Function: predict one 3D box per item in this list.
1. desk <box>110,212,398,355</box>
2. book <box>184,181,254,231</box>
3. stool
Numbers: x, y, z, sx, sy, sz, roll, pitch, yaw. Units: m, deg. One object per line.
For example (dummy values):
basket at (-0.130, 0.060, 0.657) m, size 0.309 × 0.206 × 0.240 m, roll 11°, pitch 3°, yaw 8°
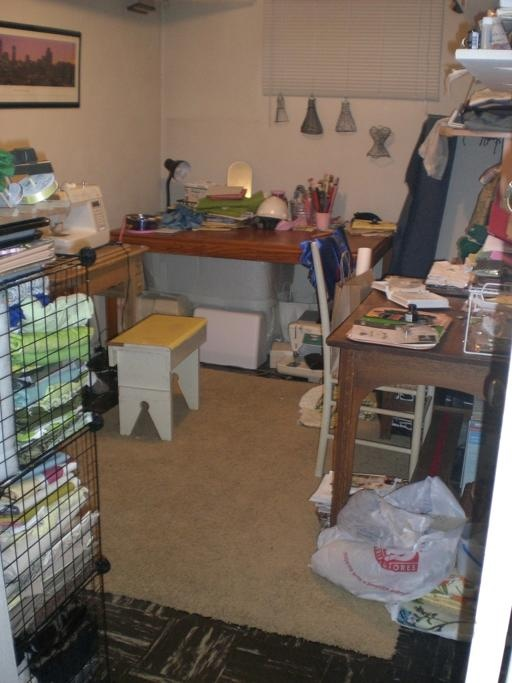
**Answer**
desk at (-0.089, -0.636, 4.114) m, size 1.818 × 1.082 × 0.957 m, roll 10°, pitch 29°, yaw 22°
book at (-0.272, -1.016, 4.239) m, size 0.468 × 0.146 × 0.444 m, roll 0°, pitch 47°, yaw 2°
stool at (-0.538, 0.218, 3.081) m, size 0.357 × 0.485 × 0.542 m, roll 8°, pitch 25°, yaw 12°
